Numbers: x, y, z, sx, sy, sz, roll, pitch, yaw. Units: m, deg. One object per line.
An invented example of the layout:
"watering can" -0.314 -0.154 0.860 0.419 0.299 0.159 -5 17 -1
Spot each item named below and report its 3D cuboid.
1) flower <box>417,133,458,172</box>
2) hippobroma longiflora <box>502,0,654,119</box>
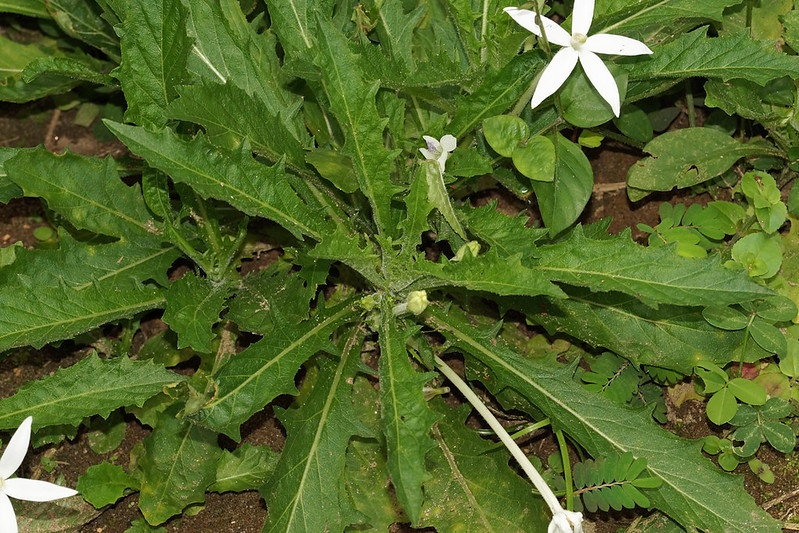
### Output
"flower" 0.193 -0.579 3.305 0.186 0.100 0.219 19 100 6
"hippobroma longiflora" 0.831 -0.971 3.171 0.673 0.459 0.490 -1 53 5
